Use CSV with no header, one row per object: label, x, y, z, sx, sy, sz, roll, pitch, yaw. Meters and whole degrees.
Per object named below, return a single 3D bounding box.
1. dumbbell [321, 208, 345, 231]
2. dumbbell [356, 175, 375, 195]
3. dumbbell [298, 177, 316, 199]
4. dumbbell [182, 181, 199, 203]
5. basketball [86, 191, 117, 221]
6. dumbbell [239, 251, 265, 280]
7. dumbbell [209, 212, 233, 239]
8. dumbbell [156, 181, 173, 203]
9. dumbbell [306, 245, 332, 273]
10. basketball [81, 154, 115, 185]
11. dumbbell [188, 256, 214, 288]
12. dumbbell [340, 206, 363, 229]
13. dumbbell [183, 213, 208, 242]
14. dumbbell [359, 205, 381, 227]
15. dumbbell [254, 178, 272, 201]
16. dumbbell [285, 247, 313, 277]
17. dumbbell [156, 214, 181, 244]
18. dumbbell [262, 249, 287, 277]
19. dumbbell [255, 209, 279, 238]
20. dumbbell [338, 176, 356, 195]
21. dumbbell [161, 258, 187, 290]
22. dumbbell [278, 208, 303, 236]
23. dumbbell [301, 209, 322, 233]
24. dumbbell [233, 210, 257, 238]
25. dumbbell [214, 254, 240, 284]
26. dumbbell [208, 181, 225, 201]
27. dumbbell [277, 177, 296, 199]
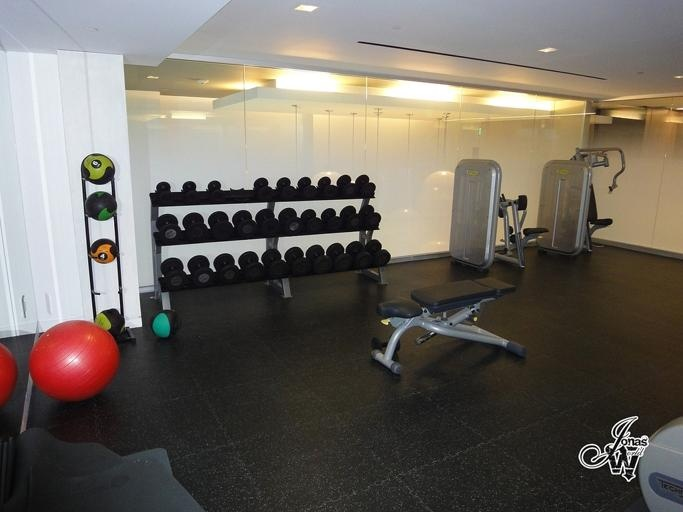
dumbbell,-0.111,-0.369,4.818,0.218,0.228,0.259,-5,13,-12
dumbbell,0.253,-0.745,4.954,0.204,0.222,0.251,-2,13,-3
dumbbell,-0.354,-0.677,4.660,0.225,0.138,0.231,4,5,6
dumbbell,-1.382,-0.575,4.219,0.134,0.192,0.267,-6,14,-17
basketball,-1.697,-0.350,3.262,0.145,0.131,0.138,-28,16,21
dumbbell,-0.862,0.104,4.446,0.218,0.251,0.256,-6,14,-16
dumbbell,-1.119,-0.276,4.310,0.203,0.247,0.284,-6,14,-19
dumbbell,-1.600,-0.572,4.159,0.134,0.179,0.217,-6,14,-19
dumbbell,-0.227,0.040,4.706,0.231,0.239,0.356,-26,17,0
basketball,-1.735,-0.611,3.278,0.190,0.215,0.173,10,17,41
dumbbell,-1.305,0.131,4.278,0.210,0.192,0.307,-9,32,-27
dumbbell,0.110,-0.415,4.827,0.224,0.229,0.064,17,-19,-39
dumbbell,-1.323,-0.250,4.166,0.149,0.128,0.209,-23,23,-5
dumbbell,0.290,-0.403,4.937,0.242,0.248,0.191,-4,13,-11
dumbbell,-0.761,-0.644,4.494,0.164,0.212,0.267,-4,13,-10
dumbbell,-0.422,0.061,4.593,0.248,0.271,0.214,-4,13,-8
dumbbell,-1.549,-0.240,4.106,0.225,0.236,0.229,-7,14,-22
dumbbell,-0.644,0.087,4.491,0.249,0.286,0.189,-4,13,-9
dumbbell,-0.712,-0.299,4.462,0.218,0.282,0.190,-5,13,-13
dumbbell,0.049,-0.741,4.870,0.168,0.195,0.240,-3,13,-3
dumbbell,-1.485,0.163,4.097,0.216,0.260,0.191,-7,14,-20
dumbbell,-0.499,-0.328,4.529,0.226,0.262,0.190,-3,13,-5
dumbbell,-0.323,-0.349,4.723,0.215,0.225,0.283,2,15,-15
dumbbell,-0.882,-0.286,4.403,0.223,0.239,0.340,0,18,-11
dumbbell,-1.070,0.123,4.348,0.229,0.259,0.215,-6,14,-18
dumbbell,-1.177,-0.608,4.300,0.140,0.185,0.183,-7,15,-20
dumbbell,-0.549,-0.666,4.599,0.177,0.215,0.283,-5,13,-12
